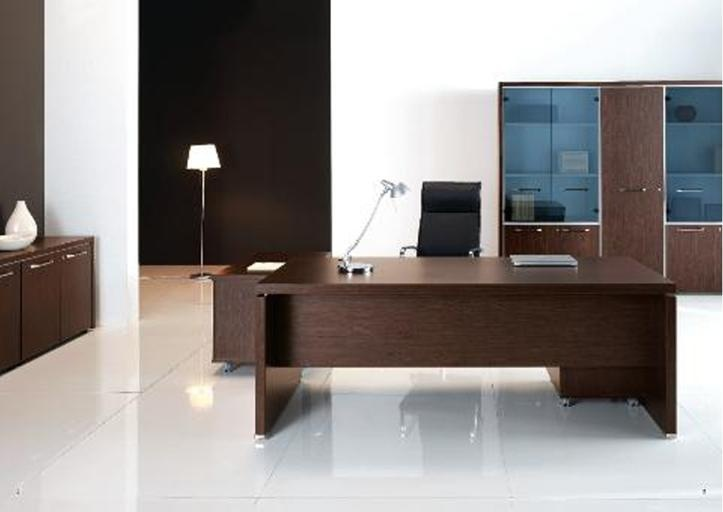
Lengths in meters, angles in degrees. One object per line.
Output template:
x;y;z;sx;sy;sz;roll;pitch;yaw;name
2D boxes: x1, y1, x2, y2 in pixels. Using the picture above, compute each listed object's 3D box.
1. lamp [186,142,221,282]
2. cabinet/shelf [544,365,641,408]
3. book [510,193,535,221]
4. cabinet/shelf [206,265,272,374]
-2.202;-0.651;8.507;0.503;1.778;1.055;-3;12;-15;lamp
1.518;0.824;3.972;0.383;0.152;0.308;0;7;6;cabinet/shelf
1.798;-0.539;6.755;0.273;0.414;0.286;0;0;-2;book
-1.027;0.365;4.797;0.510;0.855;0.884;0;4;-1;cabinet/shelf
